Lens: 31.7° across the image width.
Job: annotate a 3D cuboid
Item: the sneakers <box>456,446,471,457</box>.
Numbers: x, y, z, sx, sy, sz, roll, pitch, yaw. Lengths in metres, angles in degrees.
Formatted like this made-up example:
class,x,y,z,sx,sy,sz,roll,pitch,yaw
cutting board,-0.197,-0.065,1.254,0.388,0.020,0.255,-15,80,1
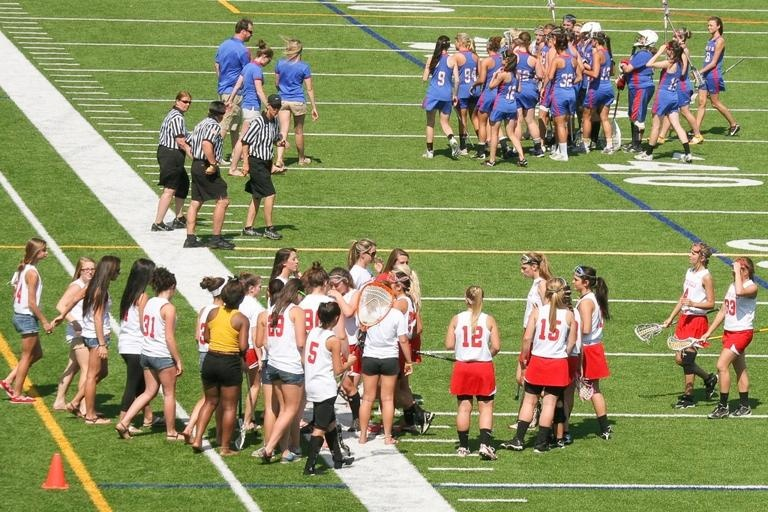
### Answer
class,x,y,z,sx,sy,sz,roll,pitch,yaw
sneakers,1.174,2.858,20.130,0.152,0.118,0.275,1,-8,7

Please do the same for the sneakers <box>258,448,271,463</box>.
class,x,y,z,sx,sy,sz,roll,pitch,yaw
sneakers,-1.746,2.866,19.697,0.109,0.132,0.299,12,-25,10

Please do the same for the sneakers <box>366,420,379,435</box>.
class,x,y,z,sx,sy,sz,roll,pitch,yaw
sneakers,-0.192,2.592,20.769,0.243,0.230,0.621,0,-5,4

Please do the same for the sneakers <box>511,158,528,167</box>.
class,x,y,z,sx,sy,sz,roll,pitch,yaw
sneakers,3.010,-2.106,30.289,0.196,0.178,0.427,1,7,2

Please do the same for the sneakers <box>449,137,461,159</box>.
class,x,y,z,sx,sy,sz,roll,pitch,yaw
sneakers,1.559,-2.425,30.205,0.206,0.243,0.573,-1,2,9

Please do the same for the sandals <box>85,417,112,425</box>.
class,x,y,z,sx,sy,sz,roll,pitch,yaw
sandals,-4.335,2.456,20.502,0.381,0.123,0.135,-4,10,-5

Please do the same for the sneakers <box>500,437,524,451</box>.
class,x,y,z,sx,sy,sz,roll,pitch,yaw
sneakers,1.921,2.778,20.344,0.371,0.174,0.151,4,-1,7

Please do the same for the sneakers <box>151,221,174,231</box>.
class,x,y,z,sx,sy,sz,roll,pitch,yaw
sneakers,-4.226,-0.594,25.735,0.407,0.149,0.146,-2,10,-10

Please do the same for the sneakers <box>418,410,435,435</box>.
class,x,y,z,sx,sy,sz,roll,pitch,yaw
sneakers,0.645,2.467,20.710,0.234,0.387,0.150,9,21,-3

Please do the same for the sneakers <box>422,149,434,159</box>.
class,x,y,z,sx,sy,sz,roll,pitch,yaw
sneakers,0.986,-2.332,30.475,0.335,0.207,0.123,17,29,35

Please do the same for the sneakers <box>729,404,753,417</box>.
class,x,y,z,sx,sy,sz,roll,pitch,yaw
sneakers,5.604,2.394,21.370,0.398,0.155,0.148,-1,4,-18

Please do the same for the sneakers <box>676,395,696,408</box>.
class,x,y,z,sx,sy,sz,roll,pitch,yaw
sneakers,4.847,2.270,21.643,0.414,0.163,0.146,-1,7,-12

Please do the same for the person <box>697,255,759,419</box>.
class,x,y,z,sx,sy,sz,roll,pitch,yaw
person,5.544,1.207,21.586,0.715,2.479,1.191,3,11,14

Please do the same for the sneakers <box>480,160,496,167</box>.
class,x,y,z,sx,sy,sz,roll,pitch,yaw
sneakers,2.377,-2.104,30.253,0.265,0.149,0.397,-4,11,-25

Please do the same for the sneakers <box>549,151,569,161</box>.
class,x,y,z,sx,sy,sz,roll,pitch,yaw
sneakers,3.963,-2.293,30.723,0.172,0.168,0.402,2,-2,19

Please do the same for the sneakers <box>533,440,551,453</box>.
class,x,y,z,sx,sy,sz,roll,pitch,yaw
sneakers,2.345,2.807,20.294,0.133,0.126,0.323,4,9,24

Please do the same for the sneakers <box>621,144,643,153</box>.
class,x,y,z,sx,sy,sz,roll,pitch,yaw
sneakers,5.758,-2.534,31.599,0.395,0.136,0.216,2,4,-4

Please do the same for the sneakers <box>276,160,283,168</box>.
class,x,y,z,sx,sy,sz,roll,pitch,yaw
sneakers,-2.283,-2.022,29.272,0.146,0.101,0.179,24,11,-18

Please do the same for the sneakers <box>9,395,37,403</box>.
class,x,y,z,sx,sy,sz,roll,pitch,yaw
sneakers,-5.588,2.168,20.874,0.292,0.078,0.143,1,5,-13

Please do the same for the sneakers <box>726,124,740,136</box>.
class,x,y,z,sx,sy,sz,roll,pitch,yaw
sneakers,8.509,-3.118,32.887,0.445,0.191,0.150,-50,7,-30

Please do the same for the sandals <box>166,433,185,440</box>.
class,x,y,z,sx,sy,sz,roll,pitch,yaw
sandals,-3.122,2.653,20.222,0.270,0.095,0.129,-3,21,-18

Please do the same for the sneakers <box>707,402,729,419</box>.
class,x,y,z,sx,sy,sz,roll,pitch,yaw
sneakers,5.197,2.411,21.313,0.414,0.175,0.157,-1,4,-24

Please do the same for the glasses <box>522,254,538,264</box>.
class,x,y,z,sx,sy,sz,roll,pitch,yaw
glasses,2.234,0.013,20.915,0.192,0.099,0.139,3,8,-29

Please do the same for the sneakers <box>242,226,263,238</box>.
class,x,y,z,sx,sy,sz,roll,pitch,yaw
sneakers,-2.598,-0.494,25.983,0.504,0.185,0.160,1,9,-7

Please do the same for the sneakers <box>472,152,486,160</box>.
class,x,y,z,sx,sy,sz,roll,pitch,yaw
sneakers,2.150,-2.291,30.640,0.336,0.132,0.111,4,9,26

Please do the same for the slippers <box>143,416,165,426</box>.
class,x,y,z,sx,sy,sz,roll,pitch,yaw
slippers,-3.505,2.465,20.610,0.293,0.108,0.116,-5,14,-14

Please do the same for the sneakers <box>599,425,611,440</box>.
class,x,y,z,sx,sy,sz,roll,pitch,yaw
sneakers,3.374,2.657,20.633,0.246,0.215,0.137,0,2,5

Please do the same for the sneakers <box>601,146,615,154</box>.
class,x,y,z,sx,sy,sz,roll,pitch,yaw
sneakers,5.199,-2.489,31.492,0.243,0.114,0.254,1,-1,9

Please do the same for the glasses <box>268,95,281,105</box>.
class,x,y,z,sx,sy,sz,roll,pitch,yaw
glasses,-2.067,-2.907,25.112,0.194,0.121,0.252,-4,8,-32

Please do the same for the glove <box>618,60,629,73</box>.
class,x,y,z,sx,sy,sz,roll,pitch,yaw
glove,5.493,-4.331,30.900,0.213,0.268,0.464,1,10,5

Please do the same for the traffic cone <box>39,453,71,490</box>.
class,x,y,z,sx,sy,sz,roll,pitch,yaw
traffic cone,-4.635,2.951,19.020,0.373,0.483,0.334,-1,11,-8

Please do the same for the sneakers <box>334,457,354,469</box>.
class,x,y,z,sx,sy,sz,roll,pitch,yaw
sneakers,-0.589,2.963,19.790,0.283,0.108,0.111,-14,22,-39

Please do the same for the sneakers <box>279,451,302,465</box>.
class,x,y,z,sx,sy,sz,roll,pitch,yaw
sneakers,-1.384,2.904,19.866,0.141,0.130,0.310,8,12,38

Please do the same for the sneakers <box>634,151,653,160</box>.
class,x,y,z,sx,sy,sz,roll,pitch,yaw
sneakers,5.953,-2.328,31.167,0.441,0.190,0.174,3,6,6

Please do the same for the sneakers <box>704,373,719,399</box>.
class,x,y,z,sx,sy,sz,roll,pitch,yaw
sneakers,5.278,2.060,22.060,0.272,0.491,0.186,-4,13,-17

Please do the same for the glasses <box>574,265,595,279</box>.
class,x,y,z,sx,sy,sz,roll,pitch,yaw
glasses,3.039,0.213,20.548,0.222,0.070,0.186,12,11,-2
